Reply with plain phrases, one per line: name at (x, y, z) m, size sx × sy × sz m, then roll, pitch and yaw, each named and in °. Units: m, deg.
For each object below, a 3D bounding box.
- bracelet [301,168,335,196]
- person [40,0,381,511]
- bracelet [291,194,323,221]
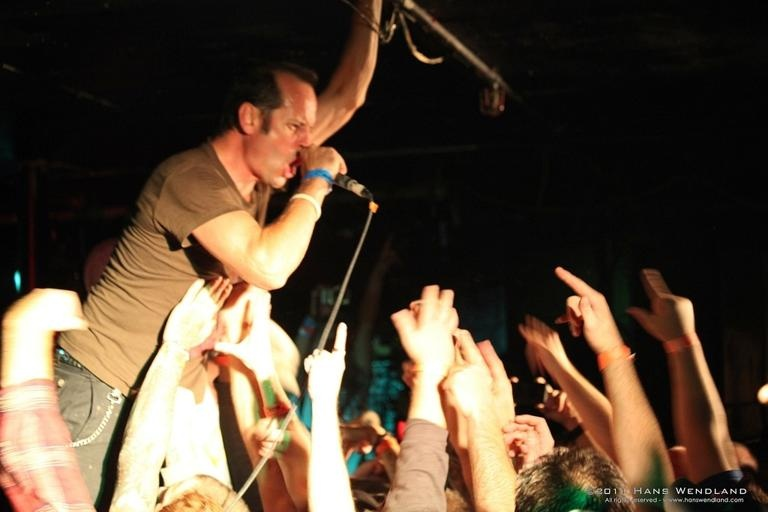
bracelet at (-0.223, -0.266, 2.439) m, size 0.117 × 0.089 × 0.068 m, roll 1°, pitch -21°, yaw -13°
person at (-0.640, 0.066, 2.439) m, size 1.024 × 1.461 × 0.407 m, roll -12°, pitch -22°, yaw 21°
bracelet at (-0.265, -0.173, 2.394) m, size 0.109 × 0.084 × 0.069 m, roll 3°, pitch -22°, yaw -19°
